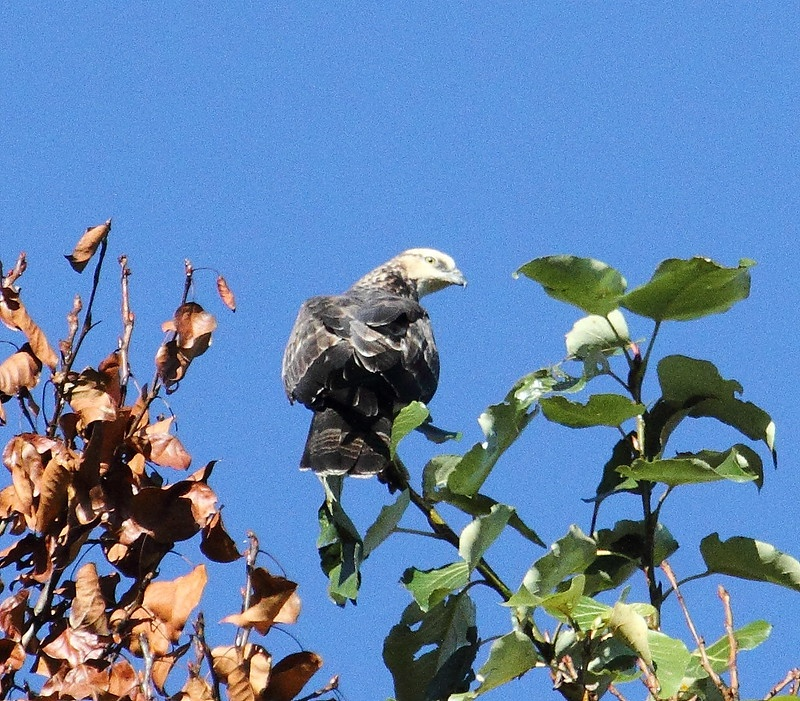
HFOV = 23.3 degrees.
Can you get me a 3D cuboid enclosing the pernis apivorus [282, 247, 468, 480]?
[{"bbox_3d":[-0.097,0.108,8.418,0.521,1.209,1.053,0,-81,19],"label":"pernis apivorus"}]
